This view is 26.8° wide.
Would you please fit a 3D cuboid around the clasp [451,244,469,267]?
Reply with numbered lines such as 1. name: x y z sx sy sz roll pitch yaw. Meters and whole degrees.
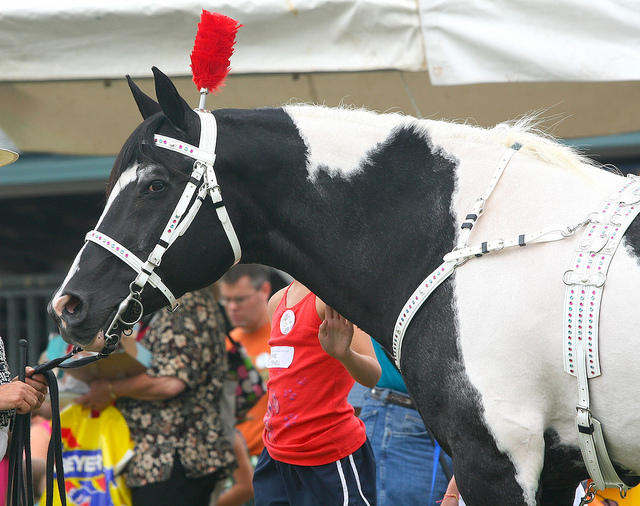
1. clasp: 0.497 0.004 4.739 0.060 0.073 0.043 4 23 5

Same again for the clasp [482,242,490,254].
1. clasp: 0.582 -0.023 4.713 0.023 0.036 0.027 3 22 1

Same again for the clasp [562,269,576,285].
1. clasp: 0.857 0.078 4.624 0.040 0.049 0.041 4 22 6

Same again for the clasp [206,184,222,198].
1. clasp: -0.393 -0.236 4.918 0.048 0.039 0.039 -21 33 1

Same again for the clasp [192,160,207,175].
1. clasp: -0.439 -0.313 4.876 0.057 0.042 0.019 18 8 9

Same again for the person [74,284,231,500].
1. person: -0.744 0.621 5.745 0.806 0.863 0.865 7 -20 -19

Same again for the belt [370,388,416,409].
1. belt: 0.302 0.608 5.646 0.149 0.027 0.076 12 -6 15

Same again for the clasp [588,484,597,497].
1. clasp: 0.972 0.854 4.823 0.047 0.038 0.014 -18 22 -33

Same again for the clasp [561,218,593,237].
1. clasp: 0.896 -0.097 4.657 0.141 0.027 0.043 -20 28 -3

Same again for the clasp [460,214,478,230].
1. clasp: 0.528 -0.115 4.750 0.033 0.051 0.040 19 28 34
